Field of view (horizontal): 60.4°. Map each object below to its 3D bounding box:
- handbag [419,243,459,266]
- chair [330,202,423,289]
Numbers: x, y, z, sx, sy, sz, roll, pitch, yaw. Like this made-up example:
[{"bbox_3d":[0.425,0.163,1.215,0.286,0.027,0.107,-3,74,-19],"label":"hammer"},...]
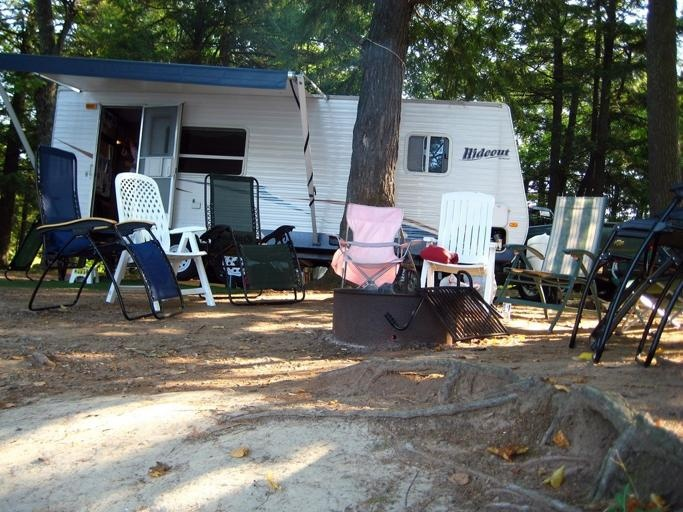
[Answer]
[{"bbox_3d":[0.964,-0.026,6.069,0.222,0.087,0.256,8,10,-16],"label":"handbag"},{"bbox_3d":[0.311,-0.099,6.602,0.809,0.886,0.937,1,12,-1],"label":"chair"}]
